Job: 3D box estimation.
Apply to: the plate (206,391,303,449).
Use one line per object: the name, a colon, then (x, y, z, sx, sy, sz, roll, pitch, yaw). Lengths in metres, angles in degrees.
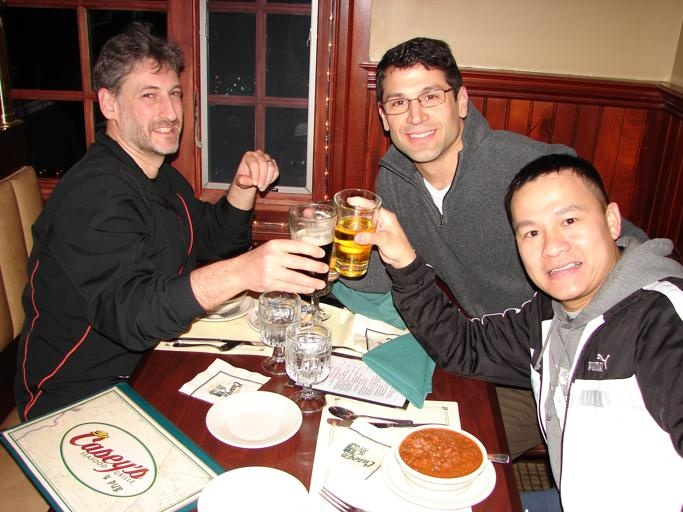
plate: (-0.244, 0.465, 1.243, 0.185, 0.025, 0.188, 11, 10, 0)

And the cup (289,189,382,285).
cup: (-0.004, -0.082, 1.623, 0.360, 0.318, 0.237, 2, 25, -1)
